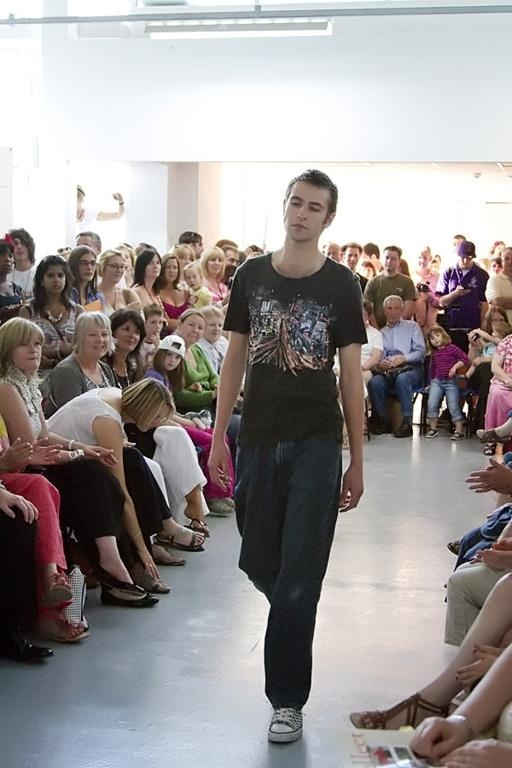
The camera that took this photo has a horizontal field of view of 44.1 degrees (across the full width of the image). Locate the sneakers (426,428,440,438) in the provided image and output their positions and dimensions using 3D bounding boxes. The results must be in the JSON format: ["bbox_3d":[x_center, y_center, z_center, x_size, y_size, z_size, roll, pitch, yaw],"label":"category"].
[{"bbox_3d":[2.041,0.569,7.323,0.091,0.089,0.261,-2,-5,21],"label":"sneakers"}]

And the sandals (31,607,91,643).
[{"bbox_3d":[-0.694,0.824,2.195,0.212,0.088,0.086,0,2,23],"label":"sandals"}]

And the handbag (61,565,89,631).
[{"bbox_3d":[-0.638,0.758,2.254,0.077,0.227,0.092,1,-6,-32],"label":"handbag"}]

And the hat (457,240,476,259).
[{"bbox_3d":[2.623,-1.675,7.860,0.180,0.135,0.239,3,13,-3],"label":"hat"}]

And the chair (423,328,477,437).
[{"bbox_3d":[2.231,-0.048,7.402,0.508,1.300,0.389,-1,0,42],"label":"chair"}]

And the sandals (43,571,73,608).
[{"bbox_3d":[-0.636,0.652,2.012,0.078,0.100,0.140,0,6,-19],"label":"sandals"}]

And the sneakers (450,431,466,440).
[{"bbox_3d":[2.275,0.592,7.129,0.072,0.079,0.197,-2,-8,32],"label":"sneakers"}]

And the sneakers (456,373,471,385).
[{"bbox_3d":[2.369,-0.058,7.271,0.168,0.160,0.077,-3,-21,-27],"label":"sneakers"}]

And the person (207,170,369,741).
[{"bbox_3d":[0.059,0.161,1.535,0.396,1.365,0.351,3,6,5],"label":"person"}]

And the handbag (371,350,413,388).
[{"bbox_3d":[1.562,-0.172,7.364,0.359,0.418,0.197,0,-20,27],"label":"handbag"}]

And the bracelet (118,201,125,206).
[{"bbox_3d":[-2.014,-2.693,9.407,0.065,0.057,0.057,-8,11,-4],"label":"bracelet"}]

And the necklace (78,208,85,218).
[{"bbox_3d":[-2.597,-2.525,9.341,0.043,0.122,0.092,6,18,-24],"label":"necklace"}]
